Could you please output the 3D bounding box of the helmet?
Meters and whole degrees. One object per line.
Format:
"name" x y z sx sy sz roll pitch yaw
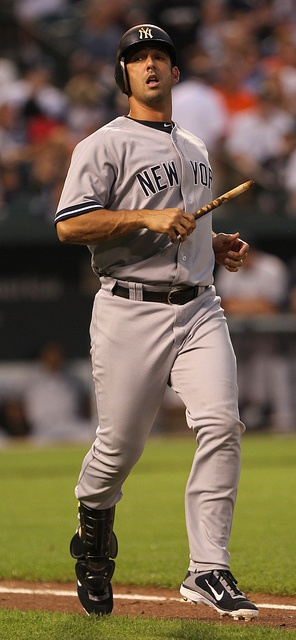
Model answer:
"helmet" -0.017 -0.887 2.379 0.172 0.191 0.202 -5 -1 15

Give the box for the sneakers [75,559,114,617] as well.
"sneakers" -0.167 0.858 2.238 0.072 0.155 0.218 1 6 -4

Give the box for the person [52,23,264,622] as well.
"person" 0.059 0.014 2.293 0.748 2.060 0.558 7 7 18

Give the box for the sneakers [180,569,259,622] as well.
"sneakers" 0.214 0.804 2.097 0.278 0.138 0.089 0 -19 46
